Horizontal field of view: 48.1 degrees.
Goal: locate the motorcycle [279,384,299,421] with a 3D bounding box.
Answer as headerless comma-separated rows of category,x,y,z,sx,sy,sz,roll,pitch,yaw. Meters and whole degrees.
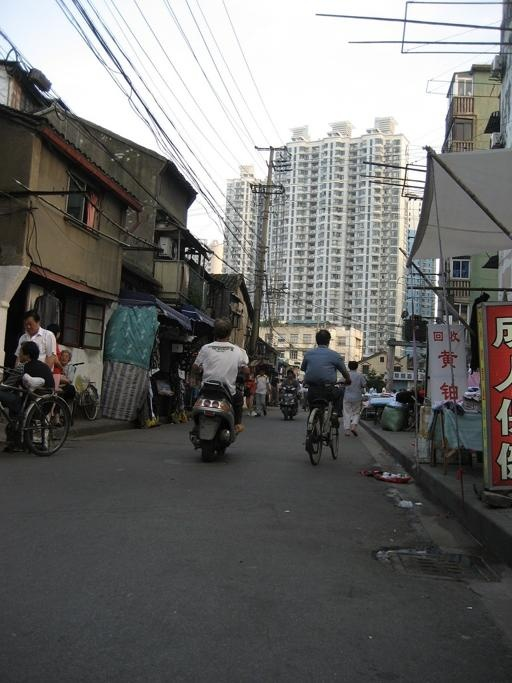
motorcycle,1.251,2.379,22.462,0.605,1.301,1.038,3,-4,2

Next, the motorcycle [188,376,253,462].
motorcycle,-0.594,1.122,8.067,0.644,1.120,0.829,3,-4,0

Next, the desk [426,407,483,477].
desk,2.425,1.116,7.332,0.690,0.803,0.804,18,8,32
